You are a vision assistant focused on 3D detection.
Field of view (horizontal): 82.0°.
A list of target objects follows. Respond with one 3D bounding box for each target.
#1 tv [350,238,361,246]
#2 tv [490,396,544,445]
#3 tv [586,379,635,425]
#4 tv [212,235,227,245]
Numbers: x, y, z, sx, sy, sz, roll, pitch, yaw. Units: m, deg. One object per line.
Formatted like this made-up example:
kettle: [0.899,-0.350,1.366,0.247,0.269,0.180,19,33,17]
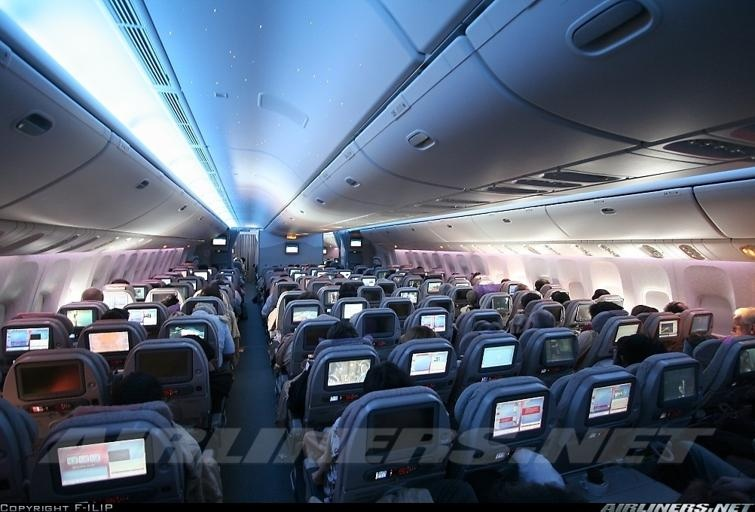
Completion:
tv: [-1.239,-0.772,24.681,0.718,0.423,0.356,1,8,1]
tv: [1.283,1.449,3.894,0.550,0.360,0.108,1,-5,-21]
tv: [2.261,1.406,4.234,0.574,0.359,0.026,-6,18,-22]
tv: [-8.619,-0.893,23.559,0.634,0.405,0.060,6,-27,-10]
